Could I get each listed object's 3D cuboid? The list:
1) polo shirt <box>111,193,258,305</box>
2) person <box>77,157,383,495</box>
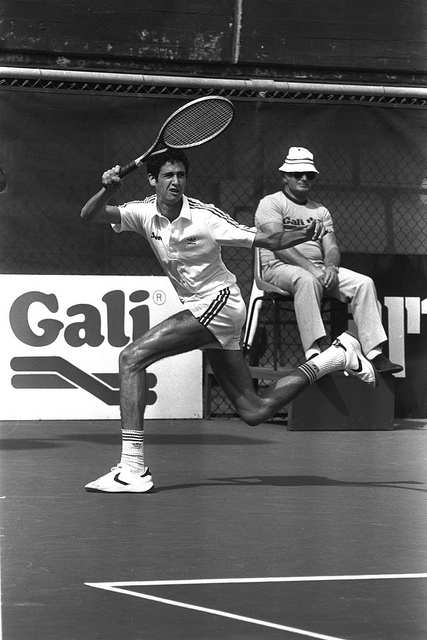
[{"bbox_3d":[-0.123,-0.282,4.076,0.564,0.385,0.243,1,0,-3],"label":"polo shirt"},{"bbox_3d":[0.095,-0.026,4.087,1.450,1.351,0.883,-1,-9,-24],"label":"person"}]
